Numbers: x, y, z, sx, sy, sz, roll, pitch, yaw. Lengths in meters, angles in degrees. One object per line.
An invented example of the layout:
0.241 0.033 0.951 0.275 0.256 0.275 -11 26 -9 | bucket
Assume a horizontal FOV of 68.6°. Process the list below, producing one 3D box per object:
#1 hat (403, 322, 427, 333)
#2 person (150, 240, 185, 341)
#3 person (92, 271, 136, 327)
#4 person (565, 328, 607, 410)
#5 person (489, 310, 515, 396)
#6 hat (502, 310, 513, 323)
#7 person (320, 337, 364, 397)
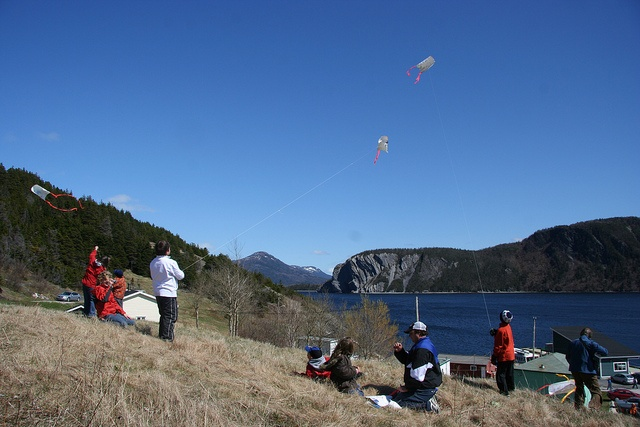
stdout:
2.754 3.302 13.532 0.537 0.324 0.369 -2 -24 17 | hat
-4.748 2.325 14.296 0.942 3.060 1.223 8 -14 -18 | person
-6.796 2.871 15.280 1.196 2.005 1.001 -1 4 7 | person
8.536 4.968 15.131 1.000 2.516 0.676 -3 -14 28 | person
5.979 4.535 15.372 0.694 2.733 1.272 -2 -14 23 | person
6.070 3.387 15.250 0.346 0.447 0.429 1 -2 -18 | hat
0.677 4.451 13.826 1.244 1.633 0.913 10 20 32 | person
